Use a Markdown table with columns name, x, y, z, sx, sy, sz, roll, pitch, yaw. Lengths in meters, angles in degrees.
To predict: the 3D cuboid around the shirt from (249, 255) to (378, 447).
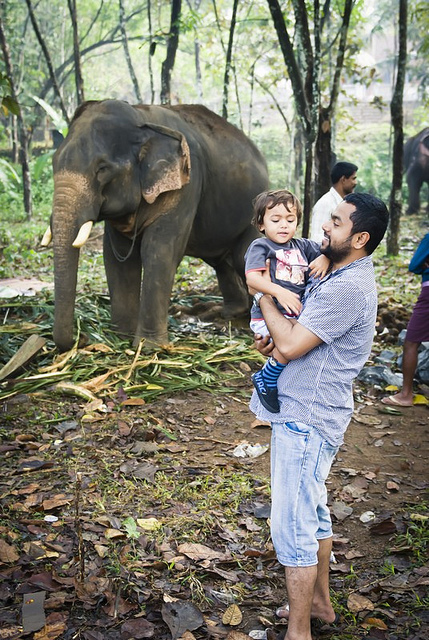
| name | x | y | z | sx | sy | sz | roll | pitch | yaw |
| --- | --- | --- | --- | --- | --- | --- | --- | --- | --- |
| shirt | 0.282 | 0.090 | 1.746 | 0.337 | 0.560 | 0.186 | 4 | 8 | 10 |

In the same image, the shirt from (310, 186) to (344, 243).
| name | x | y | z | sx | sy | sz | roll | pitch | yaw |
| --- | --- | --- | --- | --- | --- | --- | --- | --- | --- |
| shirt | 0.791 | -0.761 | 4.272 | 0.200 | 0.403 | 0.420 | 4 | 8 | 10 |

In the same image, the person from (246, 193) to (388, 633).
| name | x | y | z | sx | sy | sz | roll | pitch | yaw |
| --- | --- | --- | --- | --- | --- | --- | --- | --- | --- |
| person | 0.265 | 0.261 | 1.816 | 0.302 | 1.271 | 0.320 | -5 | 11 | -43 |

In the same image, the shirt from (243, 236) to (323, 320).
| name | x | y | z | sx | sy | sz | roll | pitch | yaw |
| --- | --- | --- | --- | --- | --- | --- | --- | --- | --- |
| shirt | 0.215 | -0.128 | 1.830 | 0.250 | 0.211 | 0.123 | -15 | 35 | -28 |

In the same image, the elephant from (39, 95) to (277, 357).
| name | x | y | z | sx | sy | sz | roll | pitch | yaw |
| --- | --- | --- | --- | --- | --- | --- | --- | --- | --- |
| elephant | -0.404 | -0.721 | 4.553 | 1.059 | 1.628 | 2.247 | 7 | 15 | 34 |
